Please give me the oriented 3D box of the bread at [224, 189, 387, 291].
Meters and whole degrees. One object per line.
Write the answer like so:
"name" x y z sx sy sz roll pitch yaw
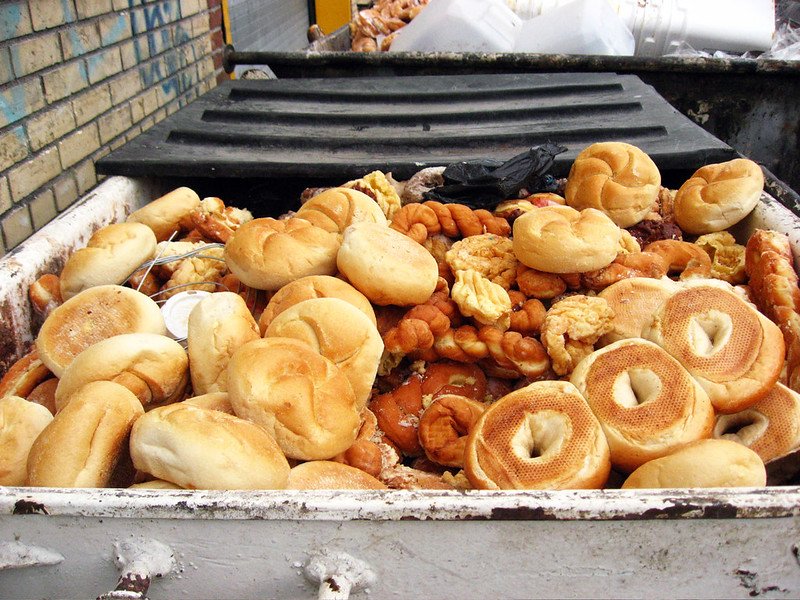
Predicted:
"bread" -0.333 -0.255 2.816 0.337 0.191 0.535 34 46 21

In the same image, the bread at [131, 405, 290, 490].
"bread" -0.567 0.442 2.198 0.469 0.219 0.168 0 21 2

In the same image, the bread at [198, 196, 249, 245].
"bread" -0.789 -0.354 3.274 0.227 0.099 0.234 13 37 13

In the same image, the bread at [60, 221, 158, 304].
"bread" -1.111 -0.137 2.924 0.247 0.125 0.337 12 45 24

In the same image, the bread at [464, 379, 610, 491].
"bread" 0.417 0.423 2.283 0.430 0.257 0.270 1 21 4

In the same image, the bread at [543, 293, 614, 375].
"bread" 0.620 0.095 2.620 0.210 0.114 0.274 23 80 23

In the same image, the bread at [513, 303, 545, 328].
"bread" 0.454 0.061 2.666 0.092 0.092 0.094 -27 66 -1

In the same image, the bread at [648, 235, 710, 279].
"bread" 1.085 -0.158 2.934 0.252 0.115 0.135 9 23 23

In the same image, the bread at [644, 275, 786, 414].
"bread" 1.021 0.133 2.397 0.380 0.138 0.400 -20 54 4

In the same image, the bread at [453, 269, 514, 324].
"bread" 0.282 -0.023 2.669 0.153 0.068 0.204 -22 62 -16

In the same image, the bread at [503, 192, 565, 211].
"bread" 0.562 -0.406 3.125 0.148 0.047 0.120 -10 6 18

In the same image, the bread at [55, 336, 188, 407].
"bread" -0.881 0.210 2.424 0.284 0.113 0.287 14 45 2

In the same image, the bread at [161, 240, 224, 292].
"bread" -0.842 -0.110 3.072 0.259 0.157 0.230 -7 22 -17

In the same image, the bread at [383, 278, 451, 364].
"bread" 0.086 0.095 2.700 0.268 0.104 0.295 4 24 25

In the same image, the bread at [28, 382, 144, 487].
"bread" -0.939 0.428 2.246 0.349 0.289 0.181 -13 24 -30

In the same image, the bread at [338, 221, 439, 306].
"bread" -0.039 -0.136 2.664 0.300 0.141 0.302 33 25 5

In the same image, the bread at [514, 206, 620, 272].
"bread" 0.604 -0.203 2.718 0.341 0.211 0.265 -12 24 -27

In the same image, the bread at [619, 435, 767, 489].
"bread" 0.869 0.504 2.203 0.392 0.139 0.117 -1 21 -2

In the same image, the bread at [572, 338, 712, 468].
"bread" 0.761 0.320 2.378 0.380 0.139 0.424 16 52 16

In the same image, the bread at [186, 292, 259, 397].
"bread" -0.596 0.148 2.473 0.224 0.334 0.098 4 -6 -25

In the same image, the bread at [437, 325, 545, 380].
"bread" 0.326 0.178 2.657 0.408 0.161 0.083 7 22 18

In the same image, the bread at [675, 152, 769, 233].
"bread" 1.323 -0.436 3.084 0.353 0.129 0.275 -46 46 -4
